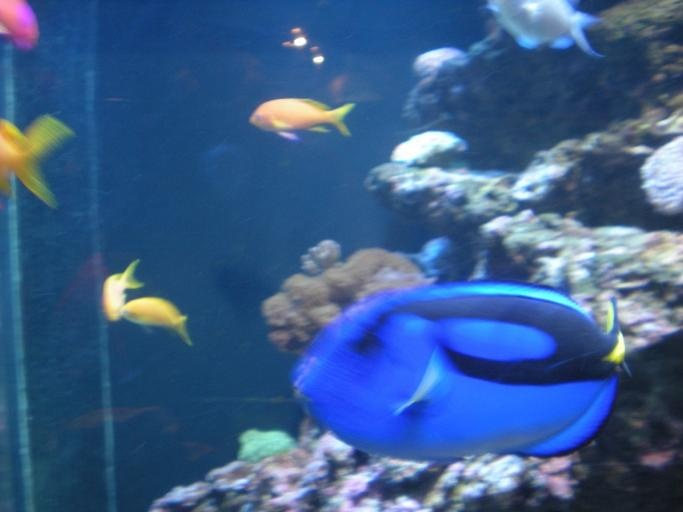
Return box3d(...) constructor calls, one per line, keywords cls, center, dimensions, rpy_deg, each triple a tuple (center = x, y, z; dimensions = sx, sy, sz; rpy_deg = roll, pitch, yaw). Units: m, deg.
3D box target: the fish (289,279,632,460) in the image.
box3d(cls="fish", center=(0.398, 0.391, 2.792), dimensions=(1.133, 0.455, 0.465), rpy_deg=(-2, 48, 0))
